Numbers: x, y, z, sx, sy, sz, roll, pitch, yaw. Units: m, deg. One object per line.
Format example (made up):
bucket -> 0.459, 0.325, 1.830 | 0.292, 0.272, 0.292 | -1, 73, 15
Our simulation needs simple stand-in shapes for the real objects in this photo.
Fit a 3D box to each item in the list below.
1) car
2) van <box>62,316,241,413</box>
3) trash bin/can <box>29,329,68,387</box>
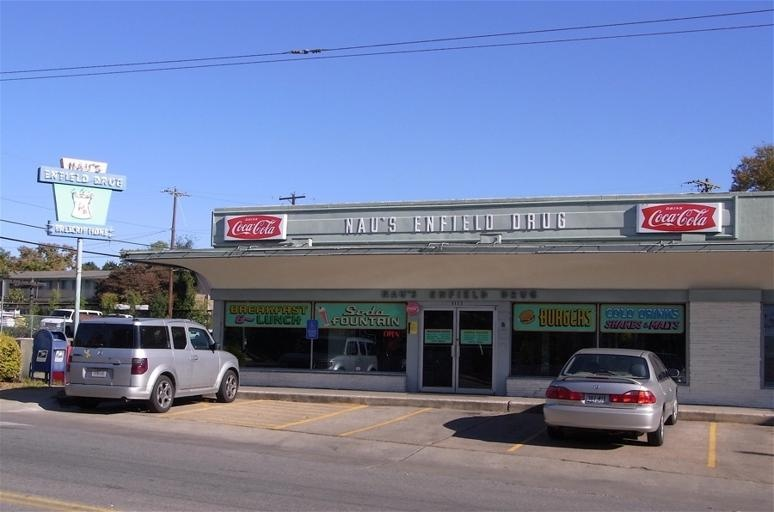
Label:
car -> 5.258, 3.326, 17.701 | 3.103, 2.131, 1.980 | 2, 1, 2
van -> -6.495, 2.847, 21.346 | 2.393, 1.727, 4.308 | -2, -2, 33
trash bin/can -> -10.802, 3.256, 24.117 | 1.176, 1.798, 0.684 | 3, 2, 27
